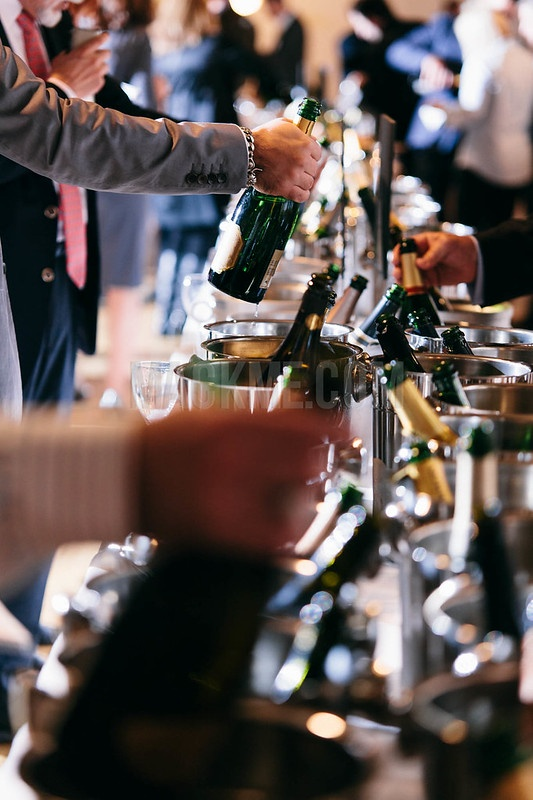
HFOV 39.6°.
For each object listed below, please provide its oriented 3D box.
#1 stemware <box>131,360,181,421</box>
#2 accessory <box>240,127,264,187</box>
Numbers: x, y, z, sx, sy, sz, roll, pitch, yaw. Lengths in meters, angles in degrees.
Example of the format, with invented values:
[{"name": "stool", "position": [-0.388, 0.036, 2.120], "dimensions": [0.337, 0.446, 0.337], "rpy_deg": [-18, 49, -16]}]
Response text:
[{"name": "stemware", "position": [-0.135, -0.010, 0.927], "dimensions": [0.058, 0.075, 0.058], "rpy_deg": [8, 6, 18]}, {"name": "accessory", "position": [-0.022, -0.356, 1.084], "dimensions": [0.030, 0.069, 0.056], "rpy_deg": [-10, 17, -14]}]
